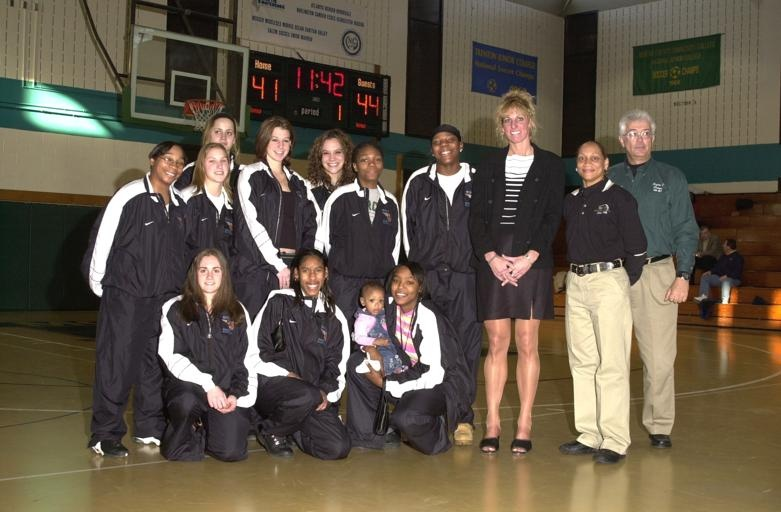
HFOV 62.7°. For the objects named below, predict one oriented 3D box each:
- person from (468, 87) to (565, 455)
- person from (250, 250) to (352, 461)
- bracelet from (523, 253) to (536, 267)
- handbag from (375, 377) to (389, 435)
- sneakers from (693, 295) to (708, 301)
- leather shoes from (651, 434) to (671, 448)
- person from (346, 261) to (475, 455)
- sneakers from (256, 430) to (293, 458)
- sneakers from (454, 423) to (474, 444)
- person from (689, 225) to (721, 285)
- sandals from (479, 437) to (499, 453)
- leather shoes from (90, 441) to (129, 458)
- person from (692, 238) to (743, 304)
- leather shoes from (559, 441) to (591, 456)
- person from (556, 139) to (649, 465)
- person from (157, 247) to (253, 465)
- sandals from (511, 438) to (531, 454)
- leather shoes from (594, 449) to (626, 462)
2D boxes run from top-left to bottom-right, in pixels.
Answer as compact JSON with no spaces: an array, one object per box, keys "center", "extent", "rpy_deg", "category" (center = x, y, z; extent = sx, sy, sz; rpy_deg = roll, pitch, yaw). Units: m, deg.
[{"center":[0.992,0.090,5.149],"extent":[0.728,2.896,0.531],"rpy_deg":[2,4,14],"category":"person"},{"center":[-0.709,0.747,5.013],"extent":[0.768,1.566,0.468],"rpy_deg":[0,4,-5],"category":"person"},{"center":[1.086,0.019,5.033],"extent":[0.079,0.111,0.036],"rpy_deg":[25,1,25],"category":"bracelet"},{"center":[-0.063,1.199,5.020],"extent":[0.106,0.410,0.124],"rpy_deg":[3,5,28],"category":"handbag"},{"center":[6.526,0.862,13.433],"extent":[0.177,0.065,0.136],"rpy_deg":[-3,7,-30],"category":"sneakers"},{"center":[2.214,1.496,5.237],"extent":[0.173,0.099,0.154],"rpy_deg":[2,4,12],"category":"leather shoes"},{"center":[0.169,0.811,5.153],"extent":[1.038,1.506,0.507],"rpy_deg":[0,4,-6],"category":"person"},{"center":[-0.919,1.448,5.009],"extent":[0.296,0.130,0.131],"rpy_deg":[8,8,36],"category":"sneakers"},{"center":[0.600,1.446,5.278],"extent":[0.127,0.063,0.169],"rpy_deg":[1,48,5],"category":"sneakers"},{"center":[6.843,-0.041,13.958],"extent":[0.525,1.290,0.705],"rpy_deg":[-6,-6,43],"category":"person"},{"center":[0.785,1.489,5.095],"extent":[0.166,0.110,0.143],"rpy_deg":[1,4,0],"category":"sandals"},{"center":[-2.135,1.448,4.892],"extent":[0.295,0.122,0.126],"rpy_deg":[-2,-5,19],"category":"leather shoes"},{"center":[6.870,0.305,13.386],"extent":[0.797,1.352,0.501],"rpy_deg":[3,5,29],"category":"person"},{"center":[1.455,1.512,5.125],"extent":[0.257,0.112,0.097],"rpy_deg":[9,3,2],"category":"leather shoes"},{"center":[1.647,0.318,5.072],"extent":[0.631,2.486,0.594],"rpy_deg":[3,5,28],"category":"person"},{"center":[-1.403,0.736,4.876],"extent":[0.732,1.571,0.430],"rpy_deg":[0,4,-14],"category":"person"},{"center":[1.038,1.498,5.071],"extent":[0.183,0.101,0.137],"rpy_deg":[1,4,-2],"category":"sandals"},{"center":[1.648,1.527,4.879],"extent":[0.234,0.102,0.094],"rpy_deg":[-2,40,-8],"category":"leather shoes"}]
